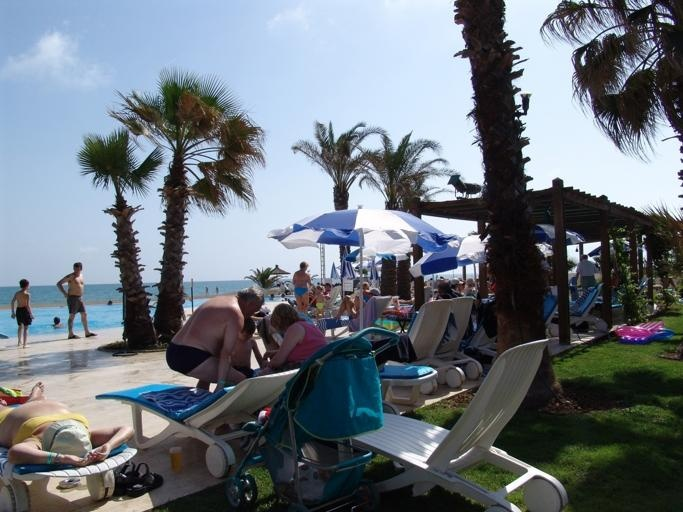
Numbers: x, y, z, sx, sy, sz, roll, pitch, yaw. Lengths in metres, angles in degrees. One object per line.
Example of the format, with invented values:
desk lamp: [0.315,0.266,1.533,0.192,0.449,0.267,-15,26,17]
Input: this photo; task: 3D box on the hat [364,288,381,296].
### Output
hat: [0.668,0.846,11.570,0.258,0.133,0.200,1,1,17]

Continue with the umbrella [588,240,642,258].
umbrella: [8.097,-0.227,14.482,0.881,0.369,0.916,-3,-8,3]

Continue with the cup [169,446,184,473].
cup: [-1.663,2.013,4.983,0.125,0.217,0.282,-3,-5,-21]

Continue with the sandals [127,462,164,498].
sandals: [-1.814,2.056,4.599,0.176,0.134,0.328,1,0,16]

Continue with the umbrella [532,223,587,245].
umbrella: [5.762,-0.592,13.159,1.266,0.449,1.317,1,-3,21]

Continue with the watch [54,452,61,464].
watch: [-2.358,1.678,4.114,0.060,0.078,0.037,-3,-4,-22]
